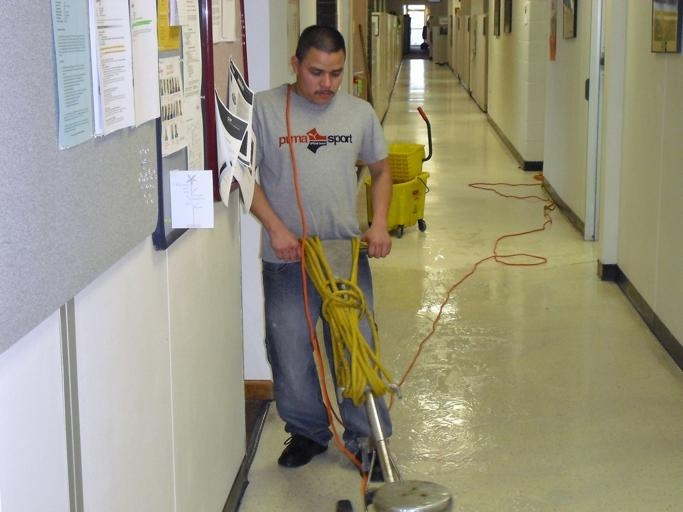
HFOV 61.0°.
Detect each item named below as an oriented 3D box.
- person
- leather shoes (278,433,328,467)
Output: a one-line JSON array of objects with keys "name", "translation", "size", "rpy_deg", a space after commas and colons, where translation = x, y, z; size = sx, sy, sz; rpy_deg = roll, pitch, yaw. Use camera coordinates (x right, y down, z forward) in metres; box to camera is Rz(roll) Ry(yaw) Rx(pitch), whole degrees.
[{"name": "person", "translation": [-0.077, 0.045, 2.455], "size": [0.588, 1.923, 0.551], "rpy_deg": [-2, 16, 5]}, {"name": "leather shoes", "translation": [-0.179, 0.899, 2.726], "size": [0.201, 0.099, 0.107], "rpy_deg": [-4, 5, -38]}]
